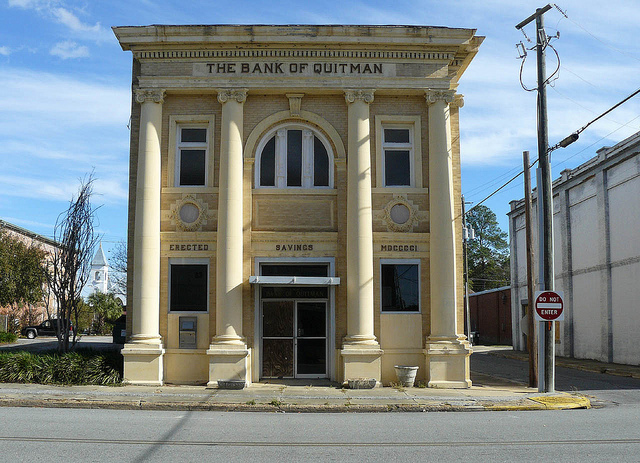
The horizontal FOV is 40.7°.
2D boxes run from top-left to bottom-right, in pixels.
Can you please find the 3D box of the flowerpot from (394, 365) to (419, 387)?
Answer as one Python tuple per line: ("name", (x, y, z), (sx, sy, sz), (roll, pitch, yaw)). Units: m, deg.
("flowerpot", (3.046, 5.107, 30.523), (0.724, 0.533, 0.716), (6, -16, -19))
